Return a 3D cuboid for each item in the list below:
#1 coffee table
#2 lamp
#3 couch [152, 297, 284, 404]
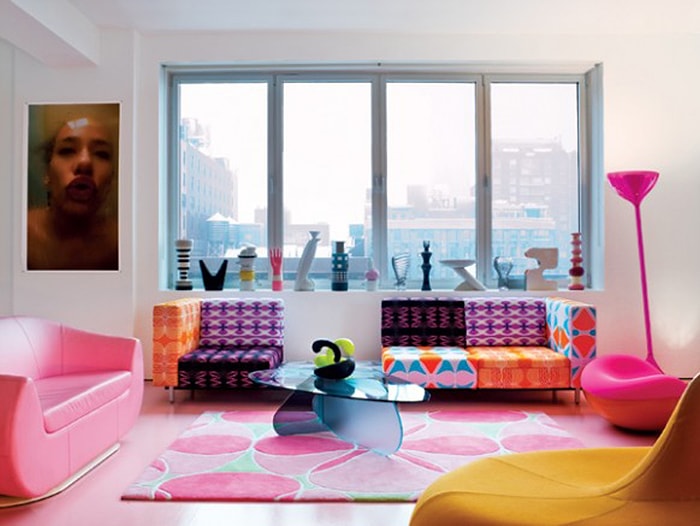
[{"bbox_3d":[0.008,1.196,5.684,1.138,0.590,1.611,3,3,-7],"label":"coffee table"},{"bbox_3d":[2.773,0.047,6.832,0.504,1.889,0.790,3,8,23],"label":"lamp"},{"bbox_3d":[-1.214,0.754,6.477,0.993,0.857,1.021,0,-3,-4],"label":"couch"}]
